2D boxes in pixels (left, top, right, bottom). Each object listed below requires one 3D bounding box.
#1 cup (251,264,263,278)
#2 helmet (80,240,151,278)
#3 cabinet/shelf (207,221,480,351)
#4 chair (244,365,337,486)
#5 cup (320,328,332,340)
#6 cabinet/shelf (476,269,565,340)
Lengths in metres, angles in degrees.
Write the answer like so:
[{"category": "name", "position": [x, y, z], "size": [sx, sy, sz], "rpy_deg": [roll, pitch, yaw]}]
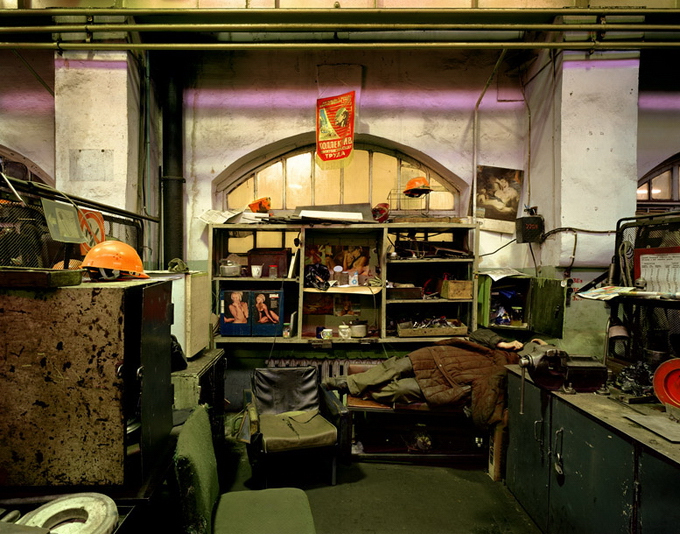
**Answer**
[{"category": "cup", "position": [-0.896, 0.046, 7.412], "size": [0.085, 0.123, 0.134], "rpy_deg": [0, -1, 2]}, {"category": "helmet", "position": [-1.724, -0.043, 5.319], "size": [0.289, 0.239, 0.422], "rpy_deg": [2, 0, 42]}, {"category": "cabinet/shelf", "position": [0.066, 0.205, 7.677], "size": [2.838, 1.407, 0.810], "rpy_deg": [0, 1, 2]}, {"category": "chair", "position": [-0.497, 1.416, 6.552], "size": [0.760, 1.040, 1.022], "rpy_deg": [1, -7, -10]}, {"category": "cup", "position": [-0.161, 0.724, 7.440], "size": [0.109, 0.083, 0.085], "rpy_deg": [-1, -4, 11]}, {"category": "cabinet/shelf", "position": [1.846, 0.404, 7.184], "size": [0.892, 0.673, 0.648], "rpy_deg": [0, -2, 4]}]
